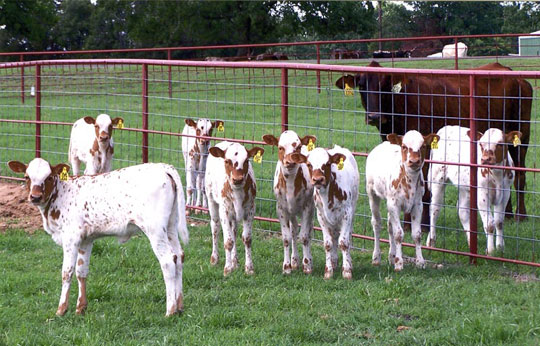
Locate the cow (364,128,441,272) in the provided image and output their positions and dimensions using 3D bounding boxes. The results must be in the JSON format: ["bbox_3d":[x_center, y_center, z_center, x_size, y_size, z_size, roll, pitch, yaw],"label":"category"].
[{"bbox_3d":[2.860,0.584,16.560,0.750,3.078,1.551,-3,4,-36],"label":"cow"}]

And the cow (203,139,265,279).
[{"bbox_3d":[-0.928,0.784,16.641,1.443,2.950,0.808,3,4,43],"label":"cow"}]

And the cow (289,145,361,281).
[{"bbox_3d":[1.424,0.862,16.327,1.099,2.862,1.783,2,4,37],"label":"cow"}]
